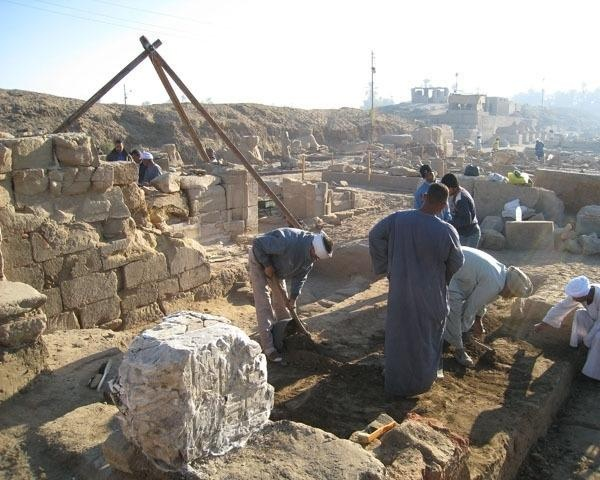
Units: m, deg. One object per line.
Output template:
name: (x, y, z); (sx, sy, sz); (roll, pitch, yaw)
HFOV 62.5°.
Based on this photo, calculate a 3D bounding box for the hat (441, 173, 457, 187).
hat: (1.865, -0.763, 6.233); (0.163, 0.157, 0.236); (17, 32, 39)

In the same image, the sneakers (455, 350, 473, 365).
sneakers: (1.636, 1.177, 4.984); (0.108, 0.068, 0.169); (-25, 38, -26)

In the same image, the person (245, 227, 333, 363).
person: (-0.152, 0.549, 5.206); (0.579, 1.342, 0.845); (-8, 14, -38)

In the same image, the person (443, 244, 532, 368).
person: (1.785, 0.635, 5.147); (1.060, 0.976, 0.769); (22, 25, 21)

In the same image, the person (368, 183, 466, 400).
person: (0.988, 0.450, 4.375); (0.786, 1.904, 0.326); (5, 12, 18)

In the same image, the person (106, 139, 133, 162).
person: (-3.303, -1.661, 9.041); (0.372, 0.349, 0.775); (-4, 13, -24)
